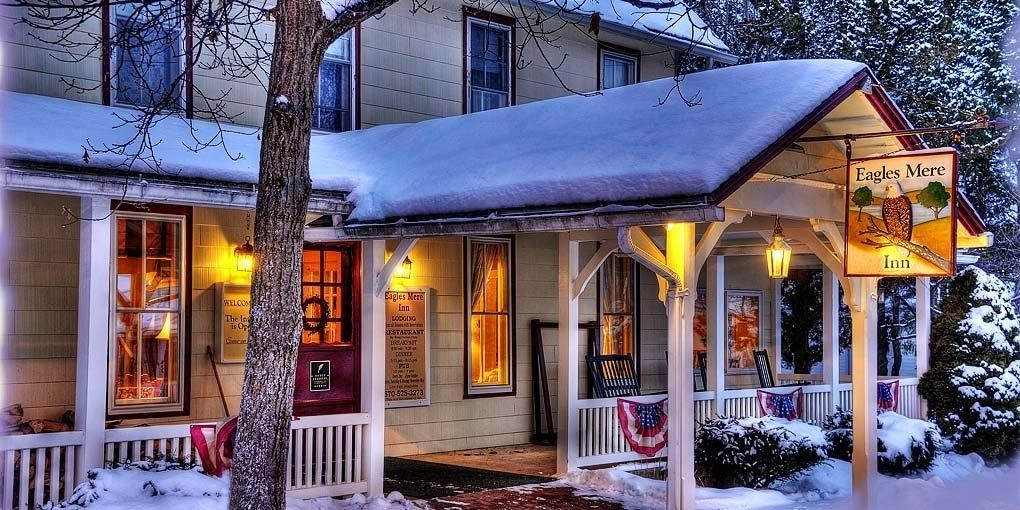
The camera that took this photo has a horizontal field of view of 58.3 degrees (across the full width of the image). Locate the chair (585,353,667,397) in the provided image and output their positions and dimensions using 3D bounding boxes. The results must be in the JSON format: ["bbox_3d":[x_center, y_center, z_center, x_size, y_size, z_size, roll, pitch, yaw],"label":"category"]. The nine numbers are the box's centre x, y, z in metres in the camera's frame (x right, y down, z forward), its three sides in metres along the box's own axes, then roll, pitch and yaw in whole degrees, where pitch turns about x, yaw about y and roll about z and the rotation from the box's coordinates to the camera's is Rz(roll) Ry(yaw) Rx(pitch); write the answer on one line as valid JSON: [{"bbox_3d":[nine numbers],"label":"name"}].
[{"bbox_3d":[2.646,2.892,21.835,1.120,1.585,1.223,1,-9,-29],"label":"chair"}]

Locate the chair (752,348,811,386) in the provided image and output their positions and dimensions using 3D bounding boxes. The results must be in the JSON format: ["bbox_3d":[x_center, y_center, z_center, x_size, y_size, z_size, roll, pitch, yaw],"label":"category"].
[{"bbox_3d":[7.349,3.129,25.371,1.089,1.080,3.099,-4,-10,17],"label":"chair"}]

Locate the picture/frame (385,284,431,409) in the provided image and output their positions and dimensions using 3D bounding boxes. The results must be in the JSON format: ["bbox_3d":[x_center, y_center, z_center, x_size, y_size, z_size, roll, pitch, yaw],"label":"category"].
[{"bbox_3d":[-2.394,2.066,20.796,1.670,2.776,0.139,-4,-5,39],"label":"picture/frame"}]

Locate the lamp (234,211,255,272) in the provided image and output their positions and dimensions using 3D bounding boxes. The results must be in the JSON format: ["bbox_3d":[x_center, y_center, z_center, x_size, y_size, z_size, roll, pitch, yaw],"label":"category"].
[{"bbox_3d":[-5.429,-0.264,18.785,0.430,1.255,0.302,-7,-11,30],"label":"lamp"}]
